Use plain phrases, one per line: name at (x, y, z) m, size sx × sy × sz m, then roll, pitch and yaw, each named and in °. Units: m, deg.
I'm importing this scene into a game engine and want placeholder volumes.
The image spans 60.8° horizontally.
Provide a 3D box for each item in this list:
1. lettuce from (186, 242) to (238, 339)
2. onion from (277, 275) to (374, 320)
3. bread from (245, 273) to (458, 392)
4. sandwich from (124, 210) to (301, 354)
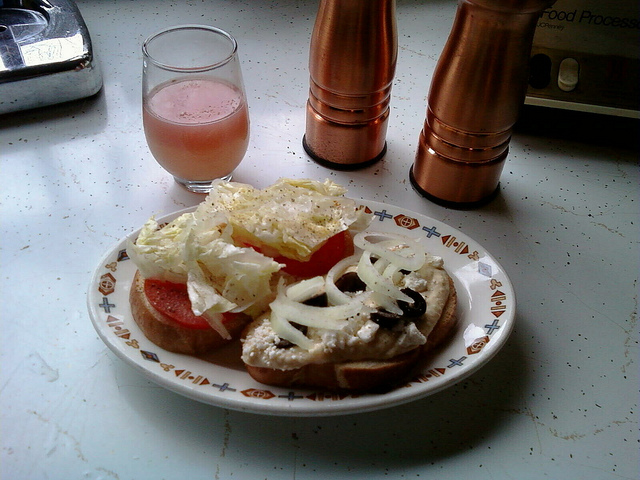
lettuce at (-0.191, 0.089, 0.926) m, size 0.068 × 0.097 × 0.152 m, roll -22°, pitch 55°, yaw -17°
onion at (0.002, 0.087, 0.906) m, size 0.094 × 0.025 × 0.078 m, roll 7°, pitch 13°, yaw 5°
bread at (0.018, 0.193, 0.990) m, size 0.262 × 0.050 × 0.389 m, roll 21°, pitch 15°, yaw 40°
sandwich at (-0.213, 0.099, 0.962) m, size 0.231 × 0.075 × 0.178 m, roll 5°, pitch 40°, yaw -42°
